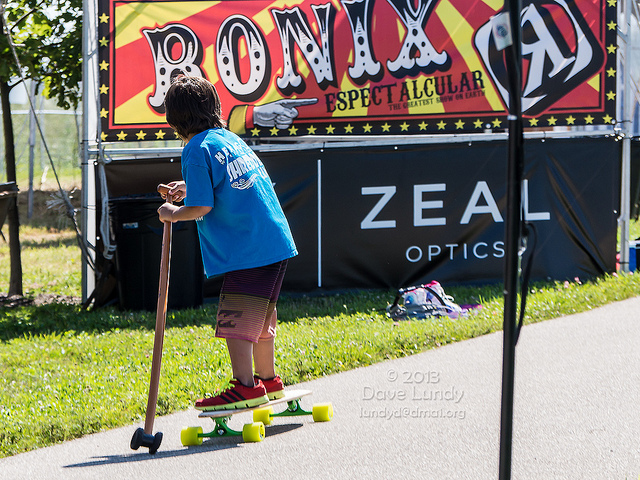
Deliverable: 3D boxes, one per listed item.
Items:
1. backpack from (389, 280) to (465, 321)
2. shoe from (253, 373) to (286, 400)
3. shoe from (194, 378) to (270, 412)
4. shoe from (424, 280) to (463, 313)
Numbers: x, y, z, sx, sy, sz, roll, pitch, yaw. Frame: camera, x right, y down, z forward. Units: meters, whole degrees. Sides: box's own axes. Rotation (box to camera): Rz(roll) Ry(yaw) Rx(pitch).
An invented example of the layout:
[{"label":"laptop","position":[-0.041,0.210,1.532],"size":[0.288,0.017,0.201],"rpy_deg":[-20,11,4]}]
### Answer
[{"label":"backpack","position":[1.240,0.758,10.598],"size":[0.579,0.255,0.478],"rpy_deg":[-5,-1,-30]},{"label":"shoe","position":[-0.463,1.280,7.852],"size":[0.333,0.185,0.131],"rpy_deg":[1,2,26]},{"label":"shoe","position":[-0.720,1.337,7.741],"size":[0.677,0.381,0.274],"rpy_deg":[0,-4,4]},{"label":"shoe","position":[1.441,0.684,10.772],"size":[0.203,0.317,0.620],"rpy_deg":[-2,2,-32]}]
